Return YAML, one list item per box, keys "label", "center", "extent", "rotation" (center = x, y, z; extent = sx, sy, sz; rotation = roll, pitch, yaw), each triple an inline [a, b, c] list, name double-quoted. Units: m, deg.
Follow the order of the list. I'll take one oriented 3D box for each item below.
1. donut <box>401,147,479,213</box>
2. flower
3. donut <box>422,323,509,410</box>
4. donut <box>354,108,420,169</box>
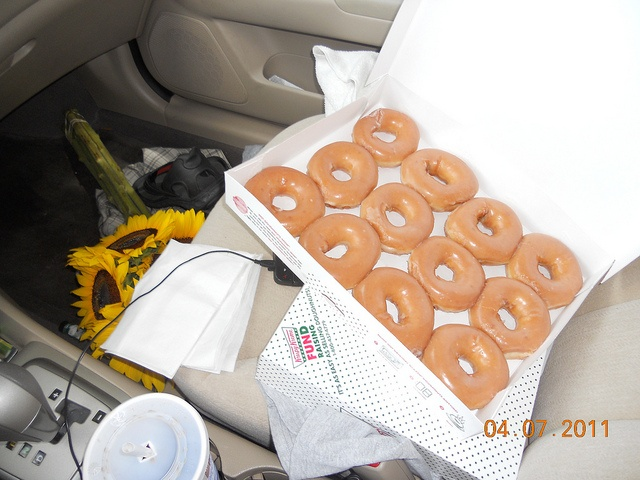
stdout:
- label: "donut"
  center: [0.389, -0.171, 1.613]
  extent: [0.212, 0.084, 0.233]
  rotation: [15, 49, -9]
- label: "flower"
  center: [-0.811, 0.071, 2.092]
  extent: [0.695, 0.341, 1.011]
  rotation: [-44, 55, -6]
- label: "donut"
  center: [0.395, 0.377, 1.380]
  extent: [0.220, 0.082, 0.221]
  rotation: [39, 51, 8]
- label: "donut"
  center: [0.222, -0.369, 1.649]
  extent: [0.199, 0.077, 0.214]
  rotation: [29, 67, 8]
